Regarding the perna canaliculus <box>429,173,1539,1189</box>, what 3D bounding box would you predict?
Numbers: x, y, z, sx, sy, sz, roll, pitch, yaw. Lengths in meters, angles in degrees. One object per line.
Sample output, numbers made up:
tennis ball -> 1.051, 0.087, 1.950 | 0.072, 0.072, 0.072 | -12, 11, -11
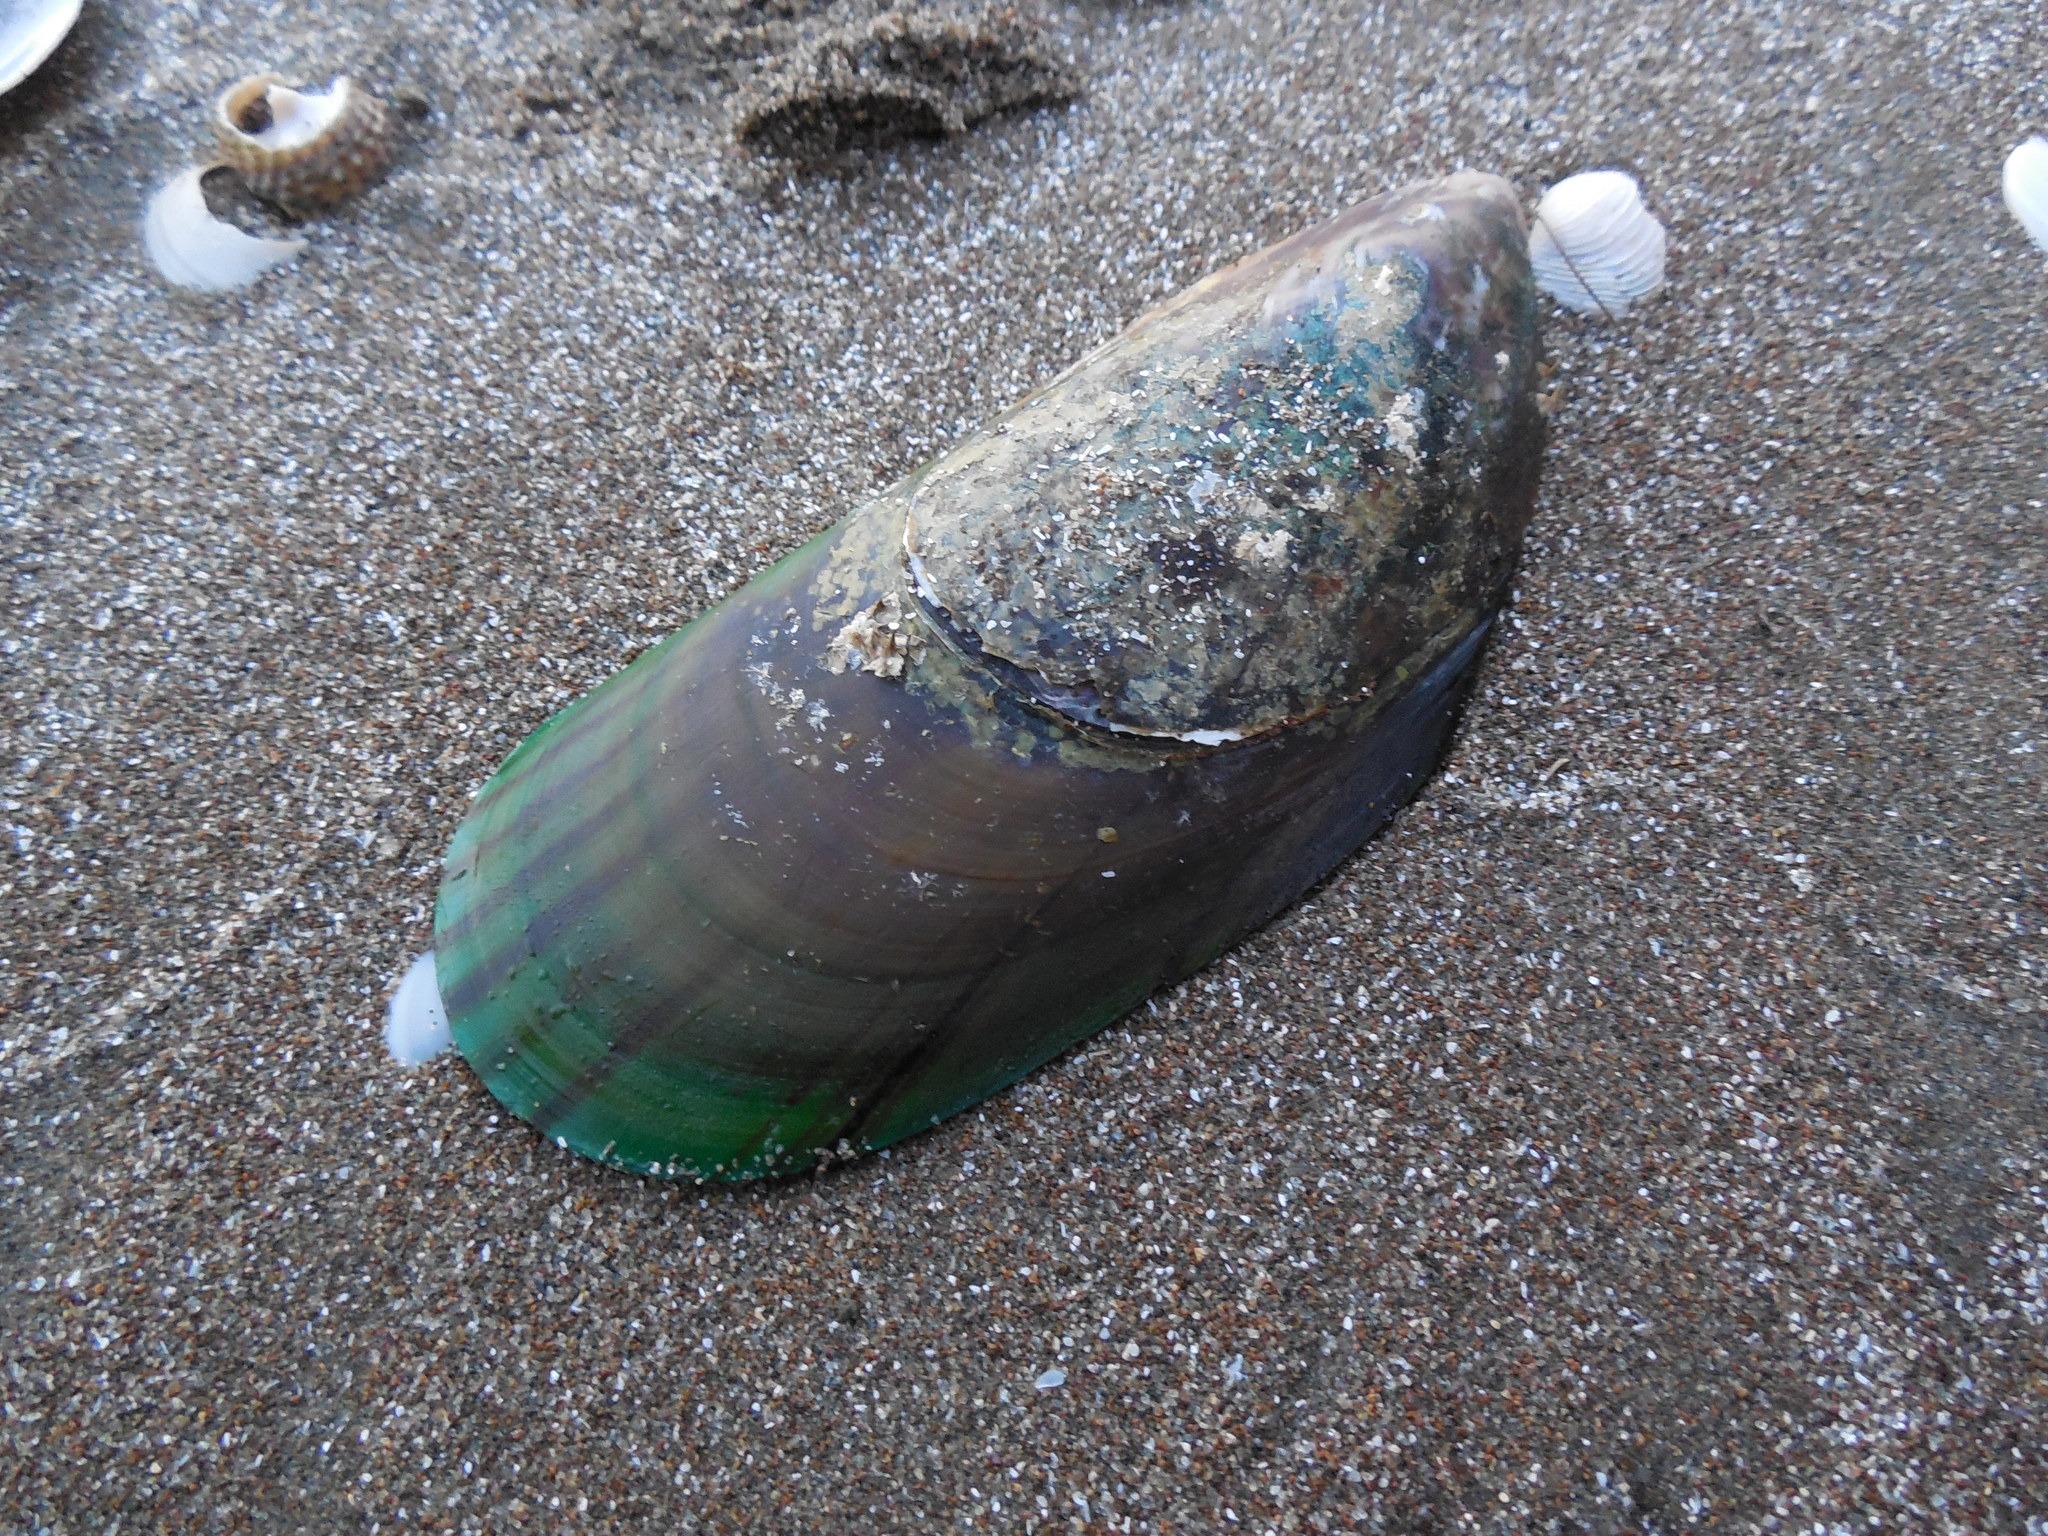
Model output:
perna canaliculus -> 0.024, -0.216, 3.589 | 2.339, 0.453, 1.248 | -33, 65, -8
